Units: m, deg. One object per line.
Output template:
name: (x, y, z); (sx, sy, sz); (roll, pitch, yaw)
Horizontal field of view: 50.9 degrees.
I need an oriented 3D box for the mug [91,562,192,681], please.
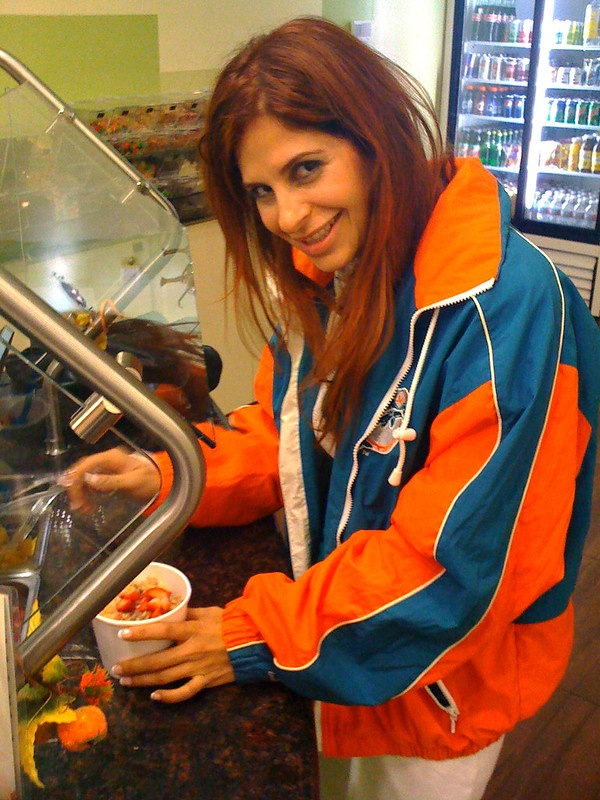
mug: (-0.185, 0.240, 0.756); (0.116, 0.086, 0.124); (12, 17, 39)
